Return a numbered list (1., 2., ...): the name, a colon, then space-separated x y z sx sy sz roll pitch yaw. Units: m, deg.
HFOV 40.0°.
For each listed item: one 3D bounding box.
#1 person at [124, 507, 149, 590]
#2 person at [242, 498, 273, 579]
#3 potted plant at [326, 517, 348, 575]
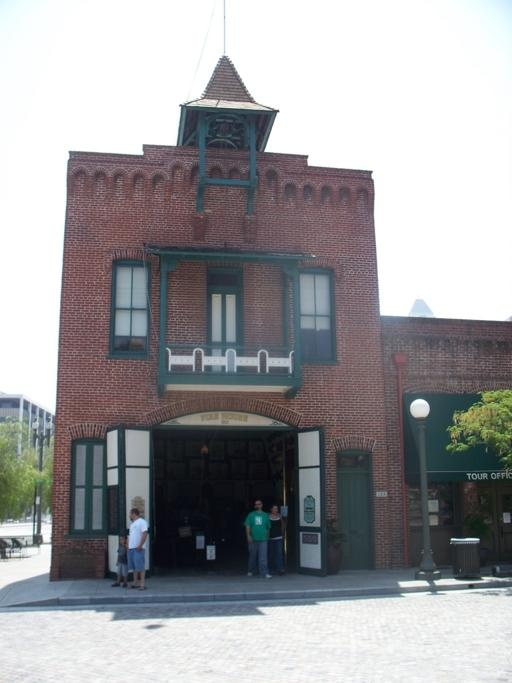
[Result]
1. person: -2.349 4.077 13.905 0.368 1.505 0.749 0 -12 -13
2. person: 0.050 4.573 16.379 0.567 1.689 1.400 -2 -12 -1
3. potted plant: 1.869 4.793 16.538 0.425 1.250 0.739 -4 -12 8
